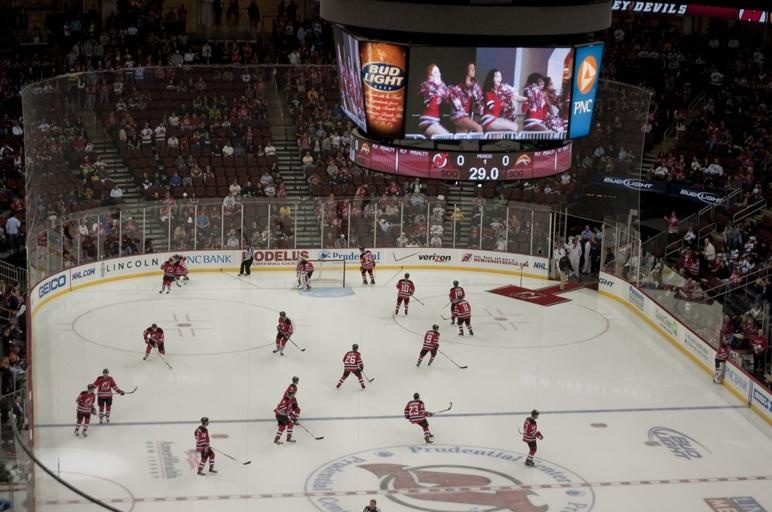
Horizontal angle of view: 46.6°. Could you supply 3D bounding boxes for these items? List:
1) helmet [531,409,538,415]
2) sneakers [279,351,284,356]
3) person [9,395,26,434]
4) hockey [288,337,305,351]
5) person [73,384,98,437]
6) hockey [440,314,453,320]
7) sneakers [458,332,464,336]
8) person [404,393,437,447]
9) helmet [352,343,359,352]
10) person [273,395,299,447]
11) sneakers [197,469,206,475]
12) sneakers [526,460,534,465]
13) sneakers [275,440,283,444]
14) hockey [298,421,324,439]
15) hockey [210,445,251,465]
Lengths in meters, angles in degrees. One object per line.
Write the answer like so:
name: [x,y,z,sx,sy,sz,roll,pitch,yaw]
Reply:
helmet: [3.492,3.695,21.172,0.211,0.127,0.270,3,-10,4]
sneakers: [-3.047,2.813,26.005,0.113,0.107,0.162,-3,60,-5]
person: [-8.702,3.609,21.190,0.245,0.741,0.918,-11,32,-23]
hockey: [-2.659,2.630,26.562,0.461,0.201,0.315,45,32,2]
person: [-7.426,3.728,21.996,0.567,1.242,0.766,-6,30,-15]
hockey: [1.902,1.958,28.880,0.314,0.097,0.450,3,28,1]
sneakers: [2.298,2.388,27.618,0.133,0.122,0.058,8,19,18]
person: [0.828,3.830,22.291,0.721,1.323,1.055,4,29,2]
helmet: [-0.847,2.448,23.843,0.197,0.238,0.250,-1,-4,-2]
person: [-2.456,3.956,21.906,0.601,1.245,0.599,-1,30,-7]
sneakers: [-4.312,5.010,20.833,0.203,0.140,0.077,2,8,3]
sneakers: [3.409,4.911,21.383,0.219,0.150,0.071,-3,14,6]
sneakers: [-2.631,4.518,21.901,0.197,0.129,0.066,-4,11,1]
hockey: [-1.912,4.357,22.415,0.137,0.141,0.688,-4,25,-39]
hockey: [-3.732,4.746,21.389,1.149,0.128,0.159,20,-9,-26]
